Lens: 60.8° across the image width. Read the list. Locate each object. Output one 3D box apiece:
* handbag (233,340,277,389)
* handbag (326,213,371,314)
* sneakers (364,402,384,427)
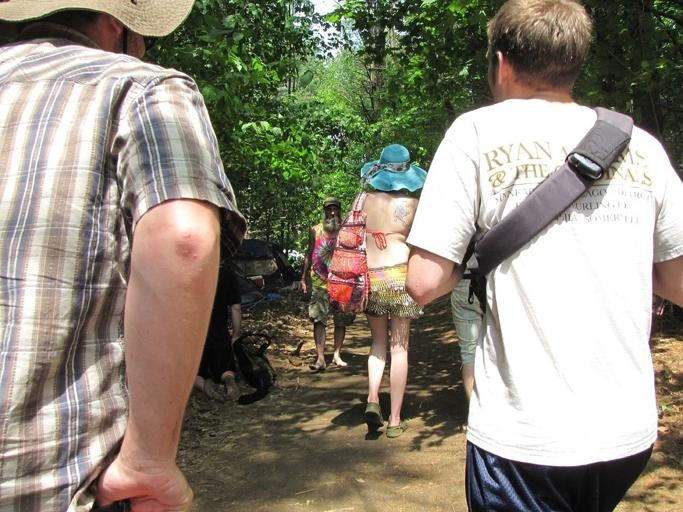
[{"bbox_3d":[-1.020,1.303,6.541,0.403,0.614,0.241,13,-48,-43],"label":"handbag"},{"bbox_3d":[0.049,0.069,4.836,0.353,0.858,0.225,-2,5,4],"label":"handbag"},{"bbox_3d":[0.275,1.414,5.029,0.123,0.274,0.113,-3,35,4],"label":"sneakers"}]
